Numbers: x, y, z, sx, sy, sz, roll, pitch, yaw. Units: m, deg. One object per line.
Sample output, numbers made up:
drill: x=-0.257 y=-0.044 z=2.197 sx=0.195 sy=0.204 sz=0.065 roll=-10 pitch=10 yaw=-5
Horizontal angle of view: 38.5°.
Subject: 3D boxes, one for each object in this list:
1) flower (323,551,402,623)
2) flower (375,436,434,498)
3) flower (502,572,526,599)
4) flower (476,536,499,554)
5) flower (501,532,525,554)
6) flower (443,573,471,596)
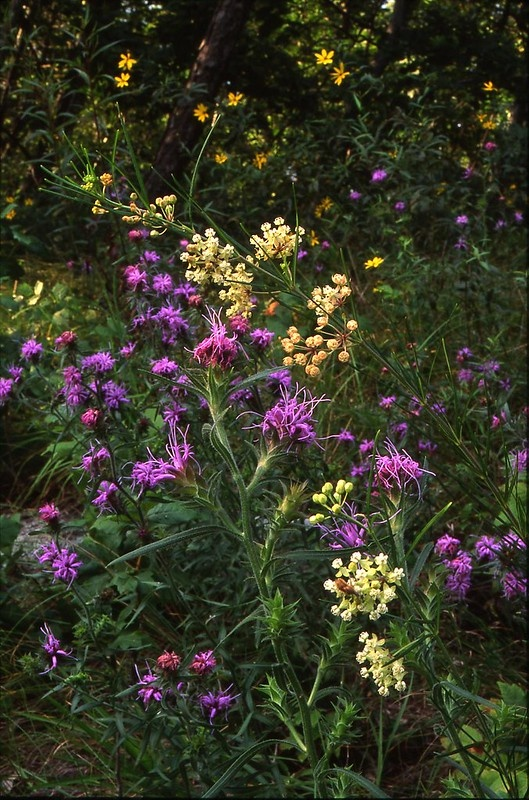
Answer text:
flower: x=0.141 y=0.262 z=1.057 sx=0.093 sy=0.098 sz=0.166 roll=12 pitch=0 yaw=14
flower: x=0.204 y=0.110 z=1.193 sx=0.098 sy=0.078 sz=0.096 roll=7 pitch=14 yaw=36
flower: x=0.554 y=0.419 z=1.685 sx=0.054 sy=0.060 sz=0.066 roll=12 pitch=0 yaw=21
flower: x=0.527 y=0.338 z=1.789 sx=0.047 sy=0.016 sz=0.046 roll=-13 pitch=19 yaw=-36
flower: x=0.551 y=0.318 z=1.681 sx=0.059 sy=0.035 sz=0.056 roll=2 pitch=-10 yaw=8
flower: x=0.439 y=0.423 z=1.734 sx=0.051 sy=0.055 sz=0.063 roll=12 pitch=0 yaw=13
